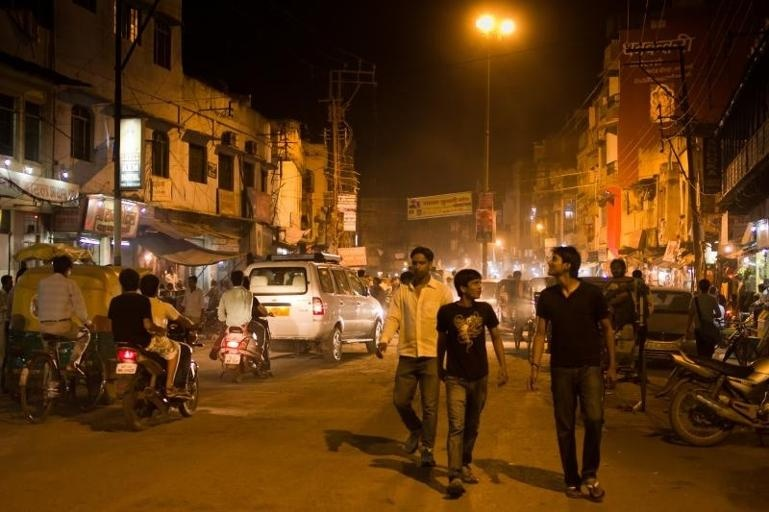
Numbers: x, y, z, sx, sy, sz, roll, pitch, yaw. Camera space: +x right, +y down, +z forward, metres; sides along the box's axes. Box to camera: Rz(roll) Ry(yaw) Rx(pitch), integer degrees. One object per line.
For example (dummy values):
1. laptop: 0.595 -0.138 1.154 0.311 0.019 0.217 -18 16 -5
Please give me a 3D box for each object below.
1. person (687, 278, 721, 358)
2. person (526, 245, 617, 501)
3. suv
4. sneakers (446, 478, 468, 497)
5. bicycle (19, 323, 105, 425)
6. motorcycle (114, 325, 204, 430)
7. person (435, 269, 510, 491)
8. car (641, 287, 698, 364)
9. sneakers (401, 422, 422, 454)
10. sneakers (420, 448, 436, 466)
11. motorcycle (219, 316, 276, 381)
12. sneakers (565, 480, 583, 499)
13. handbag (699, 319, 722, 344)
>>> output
1. person: 7.224 1.466 15.745 0.605 1.829 0.571 0 17 19
2. person: 2.278 1.372 8.417 0.954 2.959 0.624 1 2 18
3. suv: -1.923 1.508 20.084 2.567 2.908 5.768 -1 -3 16
4. sneakers: 0.847 2.753 8.280 0.208 0.196 0.201 17 27 -10
5. bicycle: -5.394 2.015 11.791 0.888 1.399 2.394 -2 -6 7
6. motorcycle: -3.637 1.923 11.216 0.822 1.555 1.540 1 2 14
7. person: 0.976 1.511 8.680 1.028 2.679 0.745 -1 3 -43
8. car: 7.194 1.631 17.275 1.653 1.483 2.909 -1 -7 17
9. sneakers: 0.396 2.579 9.729 0.214 0.506 0.165 24 -20 -35
10. sneakers: 0.553 2.651 9.155 0.227 0.304 0.221 0 -8 -3
11. motorcycle: -3.077 2.092 15.268 0.709 1.267 1.236 1 2 23
12. sneakers: 2.236 2.778 8.229 0.132 0.099 0.189 6 4 26
13. handbag: 7.428 1.731 15.811 0.319 0.611 0.931 2 2 43
